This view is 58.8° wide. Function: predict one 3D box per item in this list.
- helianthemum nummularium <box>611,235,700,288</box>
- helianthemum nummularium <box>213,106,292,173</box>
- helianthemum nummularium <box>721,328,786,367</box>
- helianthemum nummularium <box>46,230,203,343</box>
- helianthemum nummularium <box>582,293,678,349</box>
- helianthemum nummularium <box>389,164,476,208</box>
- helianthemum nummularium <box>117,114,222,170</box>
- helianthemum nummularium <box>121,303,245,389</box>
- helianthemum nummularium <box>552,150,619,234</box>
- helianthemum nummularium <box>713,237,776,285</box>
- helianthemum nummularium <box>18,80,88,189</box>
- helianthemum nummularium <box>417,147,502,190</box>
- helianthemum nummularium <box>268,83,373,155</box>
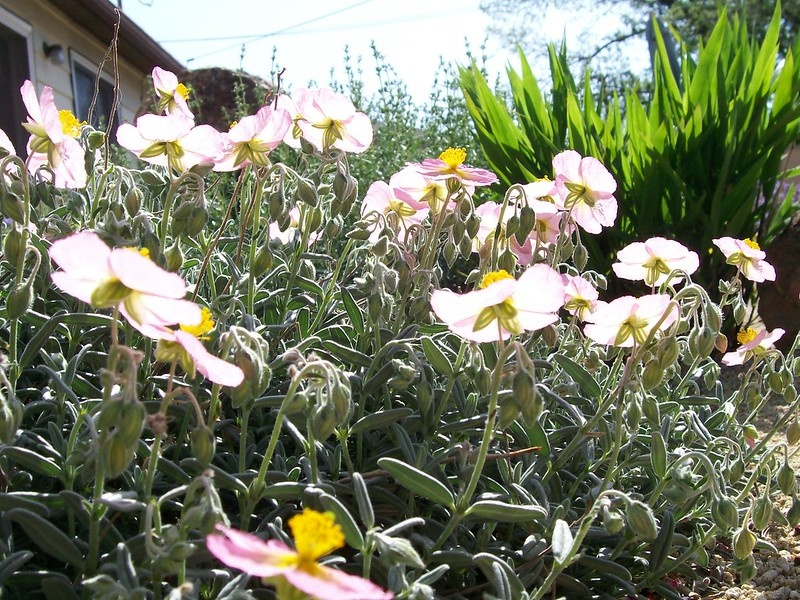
[{"bbox_3d":[0.942,-0.139,2.609,0.296,0.116,0.328,0,-8,43],"label":"helianthemum nummularium"},{"bbox_3d":[-0.512,-0.534,2.382,0.188,0.143,0.234,-15,2,15],"label":"helianthemum nummularium"},{"bbox_3d":[1.340,0.165,2.747,0.244,0.113,0.250,-20,7,-31],"label":"helianthemum nummularium"},{"bbox_3d":[-0.618,-0.027,1.636,0.237,0.125,0.285,17,-22,-21],"label":"helianthemum nummularium"},{"bbox_3d":[0.687,0.068,2.144,0.233,0.187,0.113,-7,15,8],"label":"helianthemum nummularium"},{"bbox_3d":[0.082,-0.426,2.686,0.195,0.089,0.198,13,21,-40],"label":"helianthemum nummularium"},{"bbox_3d":[-0.745,-0.526,2.348,0.223,0.108,0.267,5,26,-20],"label":"helianthemum nummularium"},{"bbox_3d":[-0.532,0.081,1.775,0.265,0.134,0.268,36,15,-40],"label":"helianthemum nummularium"},{"bbox_3d":[0.694,-0.383,2.602,0.200,0.363,0.333,1,18,29],"label":"helianthemum nummularium"},{"bbox_3d":[1.367,-0.166,2.810,0.193,0.245,0.364,2,21,34],"label":"helianthemum nummularium"},{"bbox_3d":[-1.192,-0.545,2.422,0.202,0.396,0.641,-13,17,-22],"label":"helianthemum nummularium"},{"bbox_3d":[0.196,-0.505,2.582,0.283,0.124,0.338,10,2,8],"label":"helianthemum nummularium"},{"bbox_3d":[-0.255,-0.677,2.694,0.294,0.183,0.322,-3,-2,-44],"label":"helianthemum nummularium"}]
